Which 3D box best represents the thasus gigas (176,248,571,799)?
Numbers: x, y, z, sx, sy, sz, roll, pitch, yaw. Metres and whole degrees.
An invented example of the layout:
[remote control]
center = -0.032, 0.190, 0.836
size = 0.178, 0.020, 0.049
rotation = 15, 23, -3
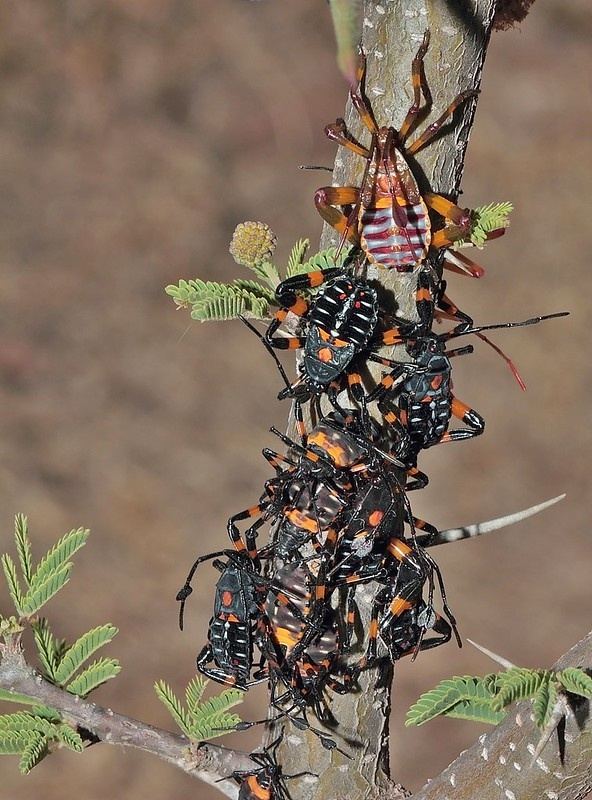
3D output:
[thasus gigas]
center = 0.146, 0.268, 2.641
size = 1.217, 1.170, 0.412
rotation = 2, 0, 3
